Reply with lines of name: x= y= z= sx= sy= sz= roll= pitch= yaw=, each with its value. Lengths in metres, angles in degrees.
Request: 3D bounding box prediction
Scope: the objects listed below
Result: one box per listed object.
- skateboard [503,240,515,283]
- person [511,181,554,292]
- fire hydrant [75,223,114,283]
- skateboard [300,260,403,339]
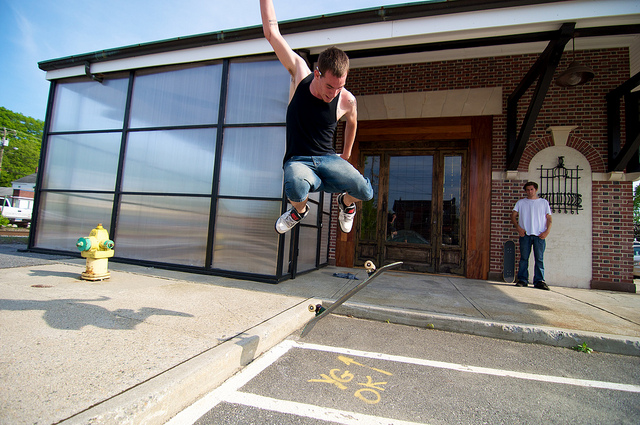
skateboard: x=4.432 y=1.149 z=9.505 sx=0.242 sy=0.969 sz=0.163 roll=3 pitch=2 yaw=19
person: x=4.943 y=0.515 z=9.579 sx=0.962 sy=2.479 sz=1.058 roll=1 pitch=-1 yaw=21
fire hydrant: x=-4.082 y=0.732 z=7.409 sx=0.577 sy=1.124 sz=0.392 roll=4 pitch=-1 yaw=-31
skateboard: x=0.564 y=1.584 z=7.296 sx=0.212 sy=1.479 sz=0.355 roll=49 pitch=-4 yaw=29
